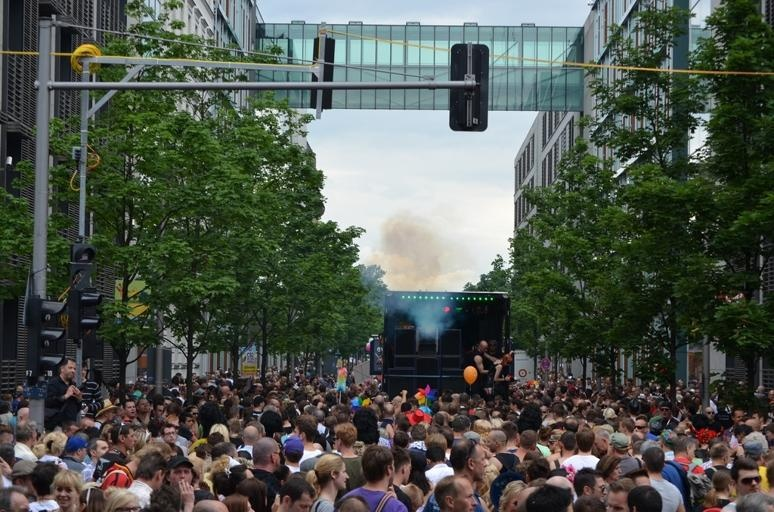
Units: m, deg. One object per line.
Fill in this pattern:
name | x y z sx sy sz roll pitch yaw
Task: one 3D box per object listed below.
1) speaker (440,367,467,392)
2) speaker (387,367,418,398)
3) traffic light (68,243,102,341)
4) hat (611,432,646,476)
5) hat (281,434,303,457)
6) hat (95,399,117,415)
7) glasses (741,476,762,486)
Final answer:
speaker | 2.346 4.115 47.700 1.185 0.941 0.784 0 -6 -5
speaker | 0.517 4.089 47.504 1.243 0.985 0.622 0 2 5
traffic light | -7.742 0.861 36.895 0.827 2.576 0.865 4 -7 -11
hat | 5.424 4.468 32.404 0.586 1.162 0.662 -3 31 -8
hat | -2.109 4.291 32.615 0.574 0.357 0.846 13 -16 -6
hat | -7.331 3.911 37.473 0.549 0.183 0.463 -22 0 -3
glasses | 7.874 4.829 31.066 0.437 0.186 0.147 5 -7 -25
